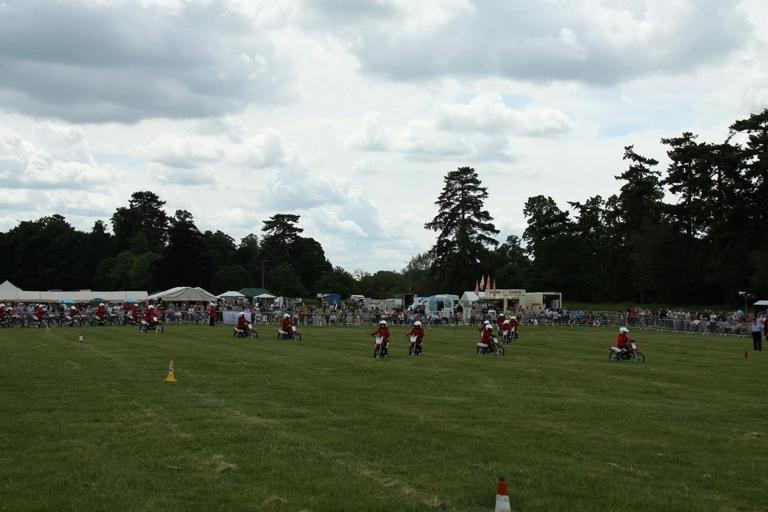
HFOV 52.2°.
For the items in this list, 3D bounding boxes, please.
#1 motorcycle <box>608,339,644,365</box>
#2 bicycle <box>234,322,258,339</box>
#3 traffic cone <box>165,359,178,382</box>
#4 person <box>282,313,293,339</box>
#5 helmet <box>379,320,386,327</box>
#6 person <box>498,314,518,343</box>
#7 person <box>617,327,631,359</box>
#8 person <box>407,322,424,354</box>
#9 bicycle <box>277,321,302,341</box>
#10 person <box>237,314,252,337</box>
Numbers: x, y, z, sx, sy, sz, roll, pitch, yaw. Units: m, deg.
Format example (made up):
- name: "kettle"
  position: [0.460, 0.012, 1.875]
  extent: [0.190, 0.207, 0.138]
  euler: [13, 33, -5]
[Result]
- name: "motorcycle"
  position: [11.032, 4.367, 35.812]
  extent: [1.675, 0.975, 0.786]
  euler: [-2, 4, 5]
- name: "bicycle"
  position: [-8.425, 4.539, 47.168]
  extent: [1.377, 0.794, 0.792]
  euler: [1, 3, 13]
- name: "traffic cone"
  position: [-7.942, 4.334, 29.254]
  extent: [0.677, 0.907, 0.737]
  euler: [2, -1, -19]
- name: "person"
  position: [-5.487, 4.119, 44.657]
  extent: [0.650, 1.256, 2.055]
  euler: [3, -5, -5]
- name: "helmet"
  position: [-0.036, 3.031, 34.839]
  extent: [0.272, 0.265, 0.352]
  euler: [0, -12, -1]
- name: "person"
  position: [7.083, 4.156, 44.910]
  extent: [1.084, 1.078, 1.827]
  euler: [-1, -4, 11]
- name: "person"
  position: [11.126, 3.995, 36.236]
  extent: [0.656, 1.286, 1.836]
  euler: [1, -5, 17]
- name: "person"
  position: [1.314, 4.022, 36.939]
  extent: [0.998, 1.064, 1.697]
  euler: [-2, -12, 11]
- name: "bicycle"
  position: [-5.463, 4.380, 44.999]
  extent: [0.952, 1.019, 1.617]
  euler: [-1, -3, -39]
- name: "person"
  position: [-8.442, 4.188, 46.973]
  extent: [0.870, 1.305, 1.415]
  euler: [2, -5, 7]
